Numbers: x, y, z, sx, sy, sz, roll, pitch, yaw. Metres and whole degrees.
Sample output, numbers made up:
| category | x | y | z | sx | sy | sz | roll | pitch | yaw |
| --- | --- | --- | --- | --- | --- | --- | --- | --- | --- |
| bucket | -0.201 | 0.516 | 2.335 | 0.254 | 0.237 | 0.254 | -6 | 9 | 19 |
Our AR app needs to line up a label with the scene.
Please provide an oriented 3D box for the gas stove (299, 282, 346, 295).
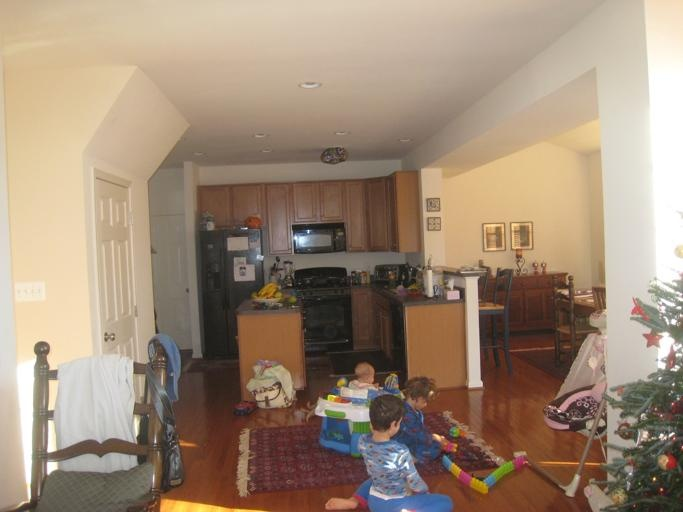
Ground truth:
| category | x | y | z | sx | sy | sz | roll | pitch | yaw |
| --- | --- | --- | --- | --- | --- | --- | --- | --- | --- |
| gas stove | -0.272 | 0.450 | 7.396 | 0.697 | 0.197 | 0.325 | -3 | 6 | -4 |

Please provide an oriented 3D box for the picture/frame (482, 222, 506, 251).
| category | x | y | z | sx | sy | sz | roll | pitch | yaw |
| --- | --- | --- | --- | --- | --- | --- | --- | --- | --- |
| picture/frame | 2.337 | -0.318 | 8.106 | 0.432 | 0.540 | 0.053 | 0 | 1 | -9 |

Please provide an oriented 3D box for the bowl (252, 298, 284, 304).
| category | x | y | z | sx | sy | sz | roll | pitch | yaw |
| --- | --- | --- | --- | --- | --- | --- | --- | --- | --- |
| bowl | -0.802 | 0.486 | 5.734 | 0.293 | 0.050 | 0.251 | -2 | 6 | 8 |

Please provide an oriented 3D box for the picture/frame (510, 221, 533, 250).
| category | x | y | z | sx | sy | sz | roll | pitch | yaw |
| --- | --- | --- | --- | --- | --- | --- | --- | --- | --- |
| picture/frame | 2.776 | -0.328 | 8.146 | 0.425 | 0.510 | 0.053 | -1 | 2 | -12 |

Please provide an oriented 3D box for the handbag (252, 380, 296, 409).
| category | x | y | z | sx | sy | sz | roll | pitch | yaw |
| --- | --- | --- | --- | --- | --- | --- | --- | --- | --- |
| handbag | -0.677 | 1.406 | 5.311 | 0.243 | 0.301 | 0.338 | -3 | -11 | 1 |

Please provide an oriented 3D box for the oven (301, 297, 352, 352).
| category | x | y | z | sx | sy | sz | roll | pitch | yaw |
| --- | --- | --- | --- | --- | --- | --- | --- | --- | --- |
| oven | -0.314 | 0.923 | 7.550 | 0.984 | 0.978 | 0.662 | -1 | -3 | -8 |

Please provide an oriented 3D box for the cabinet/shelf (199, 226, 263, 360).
| category | x | y | z | sx | sy | sz | roll | pitch | yaw |
| --- | --- | --- | --- | --- | --- | --- | --- | --- | --- |
| cabinet/shelf | -1.481 | 0.503 | 7.195 | 0.811 | 1.754 | 0.254 | -2 | 6 | 5 |

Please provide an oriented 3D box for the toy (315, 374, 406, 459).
| category | x | y | z | sx | sy | sz | roll | pitch | yaw |
| --- | --- | --- | --- | --- | --- | --- | --- | --- | --- |
| toy | 0.123 | 1.259 | 4.276 | 0.660 | 0.500 | 0.605 | 2 | -2 | -25 |

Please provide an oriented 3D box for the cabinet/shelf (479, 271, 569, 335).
| category | x | y | z | sx | sy | sz | roll | pitch | yaw |
| --- | --- | --- | --- | --- | --- | --- | --- | --- | --- |
| cabinet/shelf | 2.468 | 0.650 | 7.174 | 0.978 | 0.604 | 0.319 | -1 | 0 | -9 |

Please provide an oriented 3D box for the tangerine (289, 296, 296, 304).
| category | x | y | z | sx | sy | sz | roll | pitch | yaw |
| --- | --- | --- | --- | --- | --- | --- | --- | --- | --- |
| tangerine | -0.543 | 0.487 | 5.780 | 0.058 | 0.061 | 0.077 | 3 | 14 | 1 |

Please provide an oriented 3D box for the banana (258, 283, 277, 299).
| category | x | y | z | sx | sy | sz | roll | pitch | yaw |
| --- | --- | --- | --- | --- | --- | --- | --- | --- | --- |
| banana | -0.840 | 0.405 | 6.085 | 0.129 | 0.081 | 0.237 | -4 | 6 | 7 |

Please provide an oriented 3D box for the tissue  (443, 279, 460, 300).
| category | x | y | z | sx | sy | sz | roll | pitch | yaw |
| --- | --- | --- | --- | --- | --- | --- | --- | --- | --- |
| tissue  | 1.149 | 0.374 | 5.680 | 0.142 | 0.224 | 0.218 | 1 | -4 | -2 |

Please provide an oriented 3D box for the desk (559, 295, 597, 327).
| category | x | y | z | sx | sy | sz | roll | pitch | yaw |
| --- | --- | --- | --- | --- | --- | --- | --- | --- | --- |
| desk | 2.568 | 0.584 | 5.687 | 0.355 | 0.262 | 0.529 | 1 | 0 | -9 |

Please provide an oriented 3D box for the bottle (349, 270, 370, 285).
| category | x | y | z | sx | sy | sz | roll | pitch | yaw |
| --- | --- | --- | --- | --- | --- | --- | --- | --- | --- |
| bottle | 0.256 | 0.317 | 7.689 | 0.325 | 0.249 | 0.170 | 0 | -2 | 5 |

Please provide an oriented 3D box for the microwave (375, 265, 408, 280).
| category | x | y | z | sx | sy | sz | roll | pitch | yaw |
| --- | --- | --- | --- | --- | --- | --- | --- | --- | --- |
| microwave | 0.716 | 0.227 | 7.526 | 0.460 | 0.211 | 0.223 | -2 | 6 | 4 |

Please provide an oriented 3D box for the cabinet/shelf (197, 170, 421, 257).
| category | x | y | z | sx | sy | sz | roll | pitch | yaw |
| --- | --- | --- | --- | --- | --- | --- | --- | --- | --- |
| cabinet/shelf | -0.377 | -0.555 | 7.318 | 2.900 | 1.086 | 0.639 | -2 | 6 | 8 |

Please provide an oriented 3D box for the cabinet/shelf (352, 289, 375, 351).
| category | x | y | z | sx | sy | sz | roll | pitch | yaw |
| --- | --- | --- | --- | --- | --- | --- | --- | --- | --- |
| cabinet/shelf | 0.293 | 0.864 | 7.337 | 0.298 | 0.858 | 0.133 | -2 | 6 | 5 |

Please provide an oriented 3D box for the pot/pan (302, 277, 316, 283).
| category | x | y | z | sx | sy | sz | roll | pitch | yaw |
| --- | --- | --- | --- | --- | --- | --- | --- | --- | --- |
| pot/pan | -0.460 | 0.353 | 7.539 | 0.156 | 0.082 | 0.051 | -3 | 6 | -7 |

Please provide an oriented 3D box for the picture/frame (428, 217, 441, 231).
| category | x | y | z | sx | sy | sz | roll | pitch | yaw |
| --- | --- | --- | --- | --- | --- | --- | --- | --- | --- |
| picture/frame | 1.183 | -0.423 | 6.711 | 0.165 | 0.169 | 0.017 | 0 | 1 | -5 |

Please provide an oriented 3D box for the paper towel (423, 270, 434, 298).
| category | x | y | z | sx | sy | sz | roll | pitch | yaw |
| --- | --- | --- | --- | --- | --- | --- | --- | --- | --- |
| paper towel | 0.956 | 0.289 | 5.754 | 0.105 | 0.312 | 0.167 | -2 | 6 | 9 |

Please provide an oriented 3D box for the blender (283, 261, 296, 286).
| category | x | y | z | sx | sy | sz | roll | pitch | yaw |
| --- | --- | --- | --- | --- | --- | --- | --- | --- | --- |
| blender | -0.758 | 0.250 | 7.644 | 0.169 | 0.364 | 0.223 | -3 | 6 | -6 |

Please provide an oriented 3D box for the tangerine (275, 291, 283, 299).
| category | x | y | z | sx | sy | sz | roll | pitch | yaw |
| --- | --- | --- | --- | --- | --- | --- | --- | --- | --- |
| tangerine | -0.705 | 0.445 | 5.911 | 0.061 | 0.060 | 0.061 | -12 | -11 | 31 |
